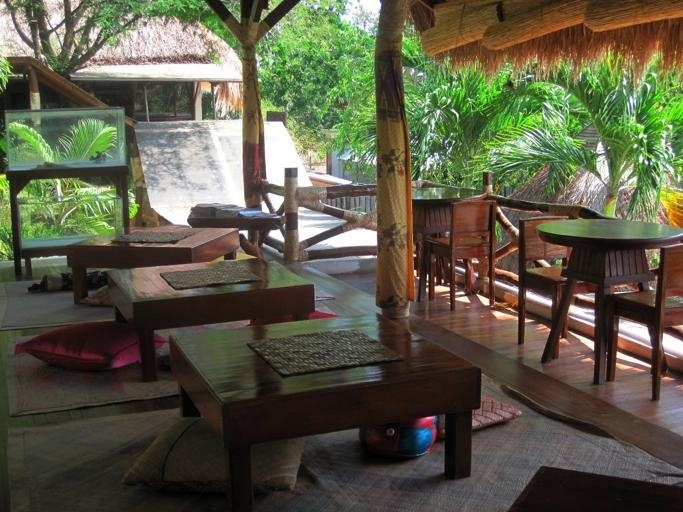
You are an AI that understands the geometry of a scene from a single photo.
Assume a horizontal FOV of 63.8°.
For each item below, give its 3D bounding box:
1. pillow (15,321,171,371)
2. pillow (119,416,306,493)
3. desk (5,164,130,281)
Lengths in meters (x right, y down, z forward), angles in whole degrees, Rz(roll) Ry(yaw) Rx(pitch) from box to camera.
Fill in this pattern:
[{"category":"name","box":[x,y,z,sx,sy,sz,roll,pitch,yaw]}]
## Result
[{"category":"pillow","box":[-1.678,0.562,3.614,0.766,0.238,0.686,10,7,8]},{"category":"pillow","box":[-0.563,0.828,2.333,0.485,0.120,0.425,0,2,5]},{"category":"desk","box":[-2.919,-0.352,5.825,1.489,1.186,0.583,-5,10,-28]}]
